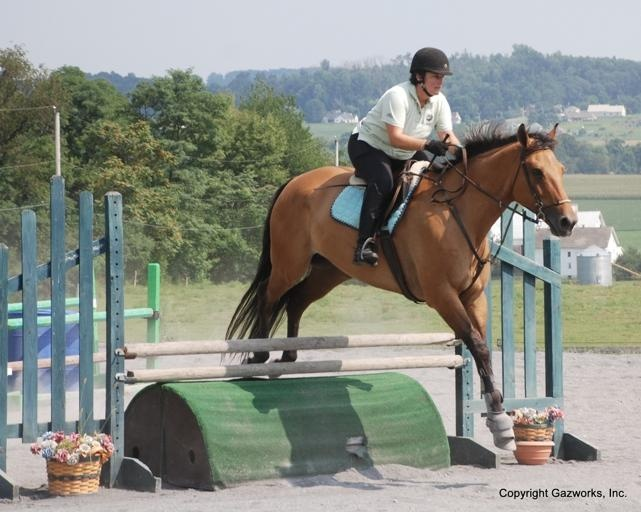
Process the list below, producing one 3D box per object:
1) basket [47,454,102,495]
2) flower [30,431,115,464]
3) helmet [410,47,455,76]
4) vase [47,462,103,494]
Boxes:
[{"bbox_3d":[-3.517,3.115,20.535,0.612,0.405,0.548,-1,-3,20],"label":"basket"},{"bbox_3d":[-3.463,2.710,20.565,1.022,0.425,0.295,0,6,-14],"label":"flower"},{"bbox_3d":[1.608,-2.830,20.998,0.611,0.394,0.391,2,6,2],"label":"helmet"},{"bbox_3d":[-3.510,3.161,20.518,0.560,0.349,0.500,0,-4,9],"label":"vase"}]
